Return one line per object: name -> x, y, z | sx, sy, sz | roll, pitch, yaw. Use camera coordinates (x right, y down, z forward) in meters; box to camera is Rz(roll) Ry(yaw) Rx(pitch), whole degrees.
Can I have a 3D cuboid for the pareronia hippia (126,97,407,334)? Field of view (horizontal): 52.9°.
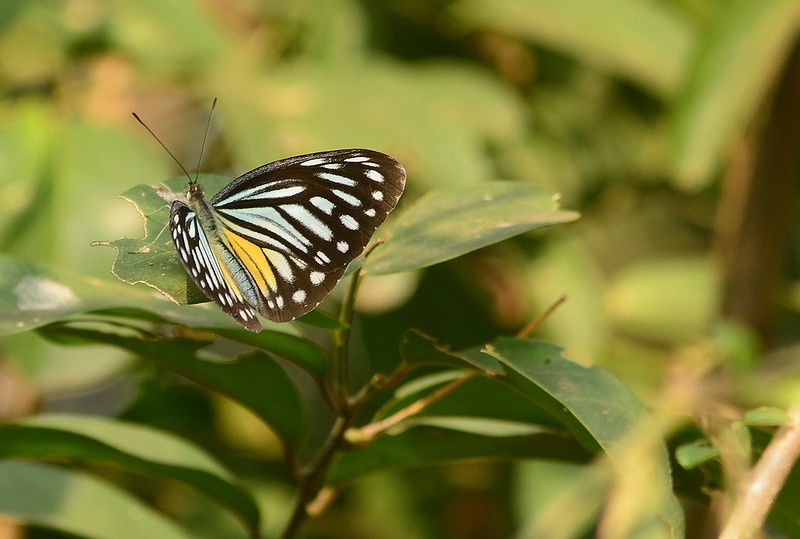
pareronia hippia -> -0.259, -0.082, 1.909 | 0.414, 0.532, 0.673 | -3, 30, -5
